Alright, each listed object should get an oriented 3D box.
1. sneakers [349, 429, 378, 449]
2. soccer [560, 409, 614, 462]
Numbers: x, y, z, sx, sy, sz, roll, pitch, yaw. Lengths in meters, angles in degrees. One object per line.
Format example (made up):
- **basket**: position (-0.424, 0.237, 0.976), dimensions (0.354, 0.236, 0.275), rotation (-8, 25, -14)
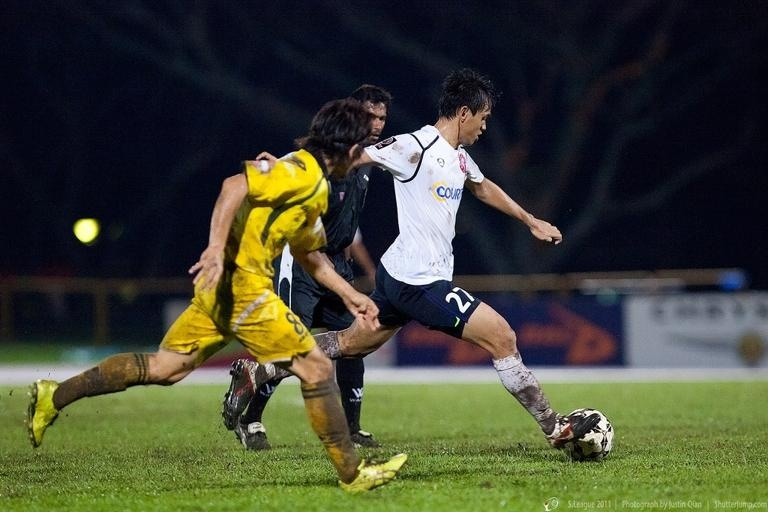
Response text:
- **sneakers**: position (-0.256, 2.313, 11.369), dimensions (0.406, 0.175, 0.137), rotation (12, 13, 9)
- **soccer**: position (2.422, 2.110, 10.839), dimensions (0.592, 0.573, 0.569), rotation (11, -1, -4)
